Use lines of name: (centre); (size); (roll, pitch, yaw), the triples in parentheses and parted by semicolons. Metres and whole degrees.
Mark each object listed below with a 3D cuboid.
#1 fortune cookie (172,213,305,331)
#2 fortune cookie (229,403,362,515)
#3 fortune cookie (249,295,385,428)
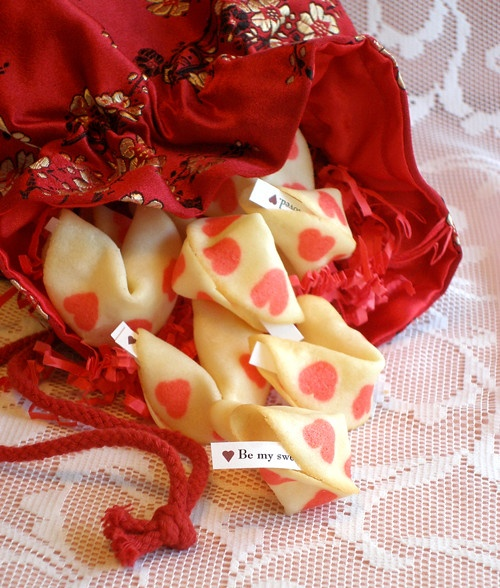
fortune cookie: (-0.016, -0.020, 0.805); (0.165, 0.075, 0.142); (43, 80, 2)
fortune cookie: (0.060, 0.166, 0.633); (0.111, 0.091, 0.108); (-5, 57, -20)
fortune cookie: (0.041, 0.093, 0.758); (0.149, 0.064, 0.153); (46, 45, 3)
